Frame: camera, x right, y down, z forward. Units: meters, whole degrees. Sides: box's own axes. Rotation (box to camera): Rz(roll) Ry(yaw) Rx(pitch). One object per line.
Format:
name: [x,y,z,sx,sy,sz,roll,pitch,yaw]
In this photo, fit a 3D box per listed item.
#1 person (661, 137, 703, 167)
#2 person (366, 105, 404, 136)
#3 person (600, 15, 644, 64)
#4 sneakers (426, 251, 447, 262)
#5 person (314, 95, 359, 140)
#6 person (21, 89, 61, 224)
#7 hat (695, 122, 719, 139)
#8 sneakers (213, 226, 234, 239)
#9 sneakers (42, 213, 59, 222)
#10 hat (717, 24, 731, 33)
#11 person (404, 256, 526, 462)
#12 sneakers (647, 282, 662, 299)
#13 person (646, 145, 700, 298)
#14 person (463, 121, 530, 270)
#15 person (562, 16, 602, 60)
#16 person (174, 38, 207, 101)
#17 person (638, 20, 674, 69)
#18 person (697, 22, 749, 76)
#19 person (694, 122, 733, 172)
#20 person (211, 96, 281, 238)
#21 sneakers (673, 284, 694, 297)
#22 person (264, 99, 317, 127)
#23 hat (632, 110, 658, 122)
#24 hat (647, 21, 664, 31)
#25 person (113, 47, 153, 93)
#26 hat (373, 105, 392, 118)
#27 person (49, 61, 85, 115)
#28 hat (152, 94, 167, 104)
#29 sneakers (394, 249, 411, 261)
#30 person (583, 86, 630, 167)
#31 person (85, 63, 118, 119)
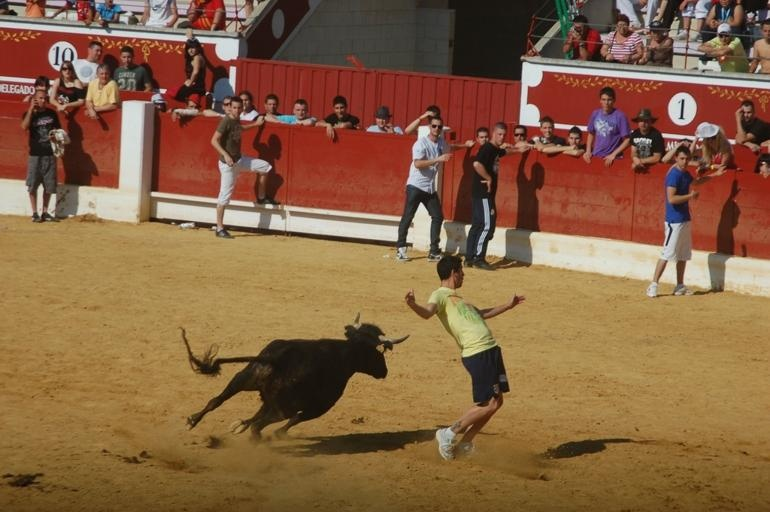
person: [5.308,-1.833,22.141,0.735,0.338,1.024,7,32,12]
person: [0.008,-2.557,23.893,0.694,0.434,0.705,0,2,0]
person: [4.837,-4.500,25.601,0.723,1.015,0.959,2,8,-17]
sneakers: [0.910,-0.011,22.390,0.379,0.189,0.136,-6,32,-9]
person: [-0.903,-2.654,24.184,0.697,0.896,1.104,7,19,23]
person: [-6.493,-1.935,23.583,0.689,2.521,0.451,2,8,-18]
hat: [5.454,-2.122,21.043,0.349,0.254,0.352,7,8,15]
sneakers: [-3.027,-0.437,23.372,0.368,0.152,0.184,10,14,6]
sneakers: [-6.320,-0.736,23.689,0.372,0.163,0.118,-3,10,-12]
hat: [6.723,-4.543,24.812,0.197,0.201,0.251,5,18,15]
person: [1.051,1.337,15.972,1.268,2.613,0.727,5,7,3]
sneakers: [4.548,0.571,20.966,0.281,0.283,0.155,4,7,7]
person: [4.841,-0.576,20.805,0.634,2.597,1.068,6,8,14]
person: [1.853,-1.096,22.242,0.609,2.603,1.092,6,8,8]
person: [4.113,-4.502,25.920,0.759,0.771,0.625,6,8,8]
person: [-4.042,-3.889,26.220,0.581,1.433,0.873,4,8,-9]
person: [5.534,-4.281,25.294,0.547,0.787,1.056,9,9,28]
person: [6.819,-4.183,25.063,0.652,0.793,1.319,17,-21,47]
person: [5.577,-1.721,21.311,0.648,1.090,0.547,-9,11,-5]
person: [-2.652,-1.577,23.751,0.894,2.280,1.468,7,49,4]
sneakers: [5.008,0.572,21.063,0.166,0.152,0.315,0,3,29]
person: [-1.739,-2.768,24.516,0.642,0.324,0.888,4,6,16]
hat: [4.569,-2.491,21.864,0.278,0.215,0.549,6,8,5]
hat: [5.477,-4.696,25.226,0.359,0.264,0.363,0,2,-3]
person: [-5.400,-3.906,26.339,0.828,1.122,0.582,1,23,-3]
hat: [-0.092,-2.743,23.579,0.287,0.087,0.295,13,22,33]
person: [-6.279,-3.362,24.677,0.773,1.045,0.792,6,14,9]
hat: [-4.494,-3.150,24.789,0.237,0.133,0.338,-1,6,-18]
sneakers: [0.309,-0.018,22.502,0.331,0.242,0.130,2,11,-1]
person: [4.090,-2.394,22.814,0.764,1.384,1.065,6,8,10]
person: [-5.519,-3.140,24.304,0.668,1.159,0.709,10,19,11]
